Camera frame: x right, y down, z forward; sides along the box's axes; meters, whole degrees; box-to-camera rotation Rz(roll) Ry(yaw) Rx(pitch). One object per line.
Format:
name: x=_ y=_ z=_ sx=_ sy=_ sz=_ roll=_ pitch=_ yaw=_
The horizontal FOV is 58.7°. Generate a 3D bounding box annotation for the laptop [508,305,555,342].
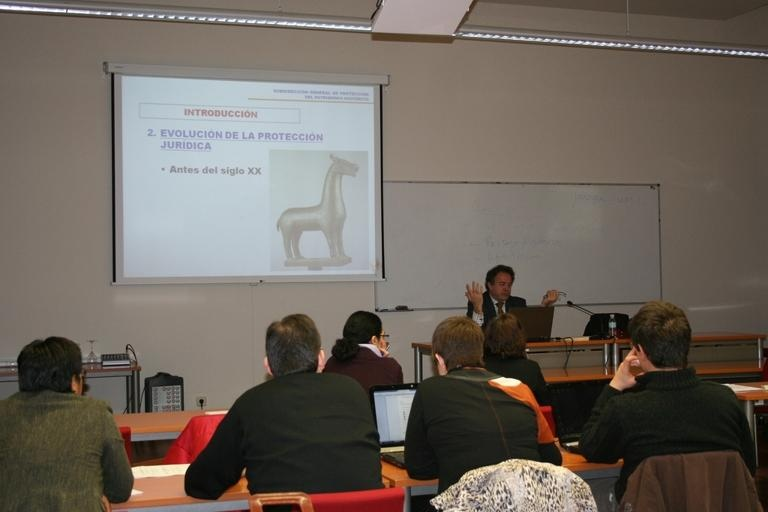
laptop: x=1.302 y=0.558 z=5.975 sx=0.452 sy=0.347 sz=0.324 roll=-2 pitch=2 yaw=-9

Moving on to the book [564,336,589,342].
book: x=1.732 y=0.741 z=6.130 sx=0.123 sy=0.030 sz=0.117 roll=0 pitch=2 yaw=6

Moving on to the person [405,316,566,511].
person: x=0.472 y=0.779 z=3.526 sx=0.636 sy=0.839 sz=0.461 roll=8 pitch=13 yaw=37

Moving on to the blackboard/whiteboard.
blackboard/whiteboard: x=1.472 y=-0.131 z=7.386 sx=3.064 sy=1.389 sz=0.152 roll=0 pitch=4 yaw=0

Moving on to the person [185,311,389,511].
person: x=-0.488 y=0.776 z=3.306 sx=0.918 sy=0.890 sz=0.420 roll=-2 pitch=10 yaw=-14

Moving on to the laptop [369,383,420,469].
laptop: x=0.043 y=0.978 z=4.043 sx=0.414 sy=0.323 sz=0.354 roll=1 pitch=-3 yaw=-18

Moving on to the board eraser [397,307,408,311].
board eraser: x=0.189 y=0.542 z=7.126 sx=0.136 sy=0.052 sz=0.012 roll=-1 pitch=10 yaw=-9
